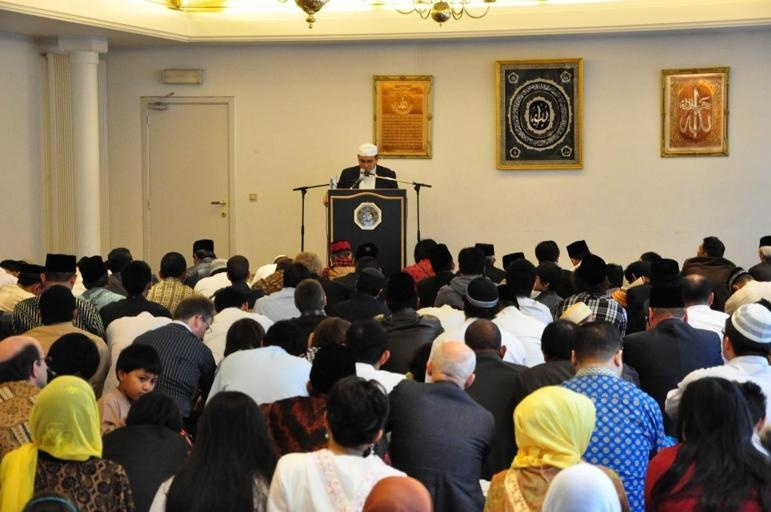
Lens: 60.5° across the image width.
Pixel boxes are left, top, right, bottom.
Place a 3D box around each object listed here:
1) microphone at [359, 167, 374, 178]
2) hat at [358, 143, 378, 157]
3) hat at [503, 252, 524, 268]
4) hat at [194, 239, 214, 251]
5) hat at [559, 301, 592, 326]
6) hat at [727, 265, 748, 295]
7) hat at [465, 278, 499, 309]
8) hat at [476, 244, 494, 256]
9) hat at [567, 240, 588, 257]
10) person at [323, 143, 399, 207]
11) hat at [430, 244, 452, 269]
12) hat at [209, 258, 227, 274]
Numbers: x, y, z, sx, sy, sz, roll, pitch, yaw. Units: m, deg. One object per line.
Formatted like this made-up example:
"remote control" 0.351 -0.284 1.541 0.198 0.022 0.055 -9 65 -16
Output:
"microphone" -0.231 -1.075 8.606 0.190 0.109 0.250 0 5 -3
"hat" -0.231 -1.373 8.636 0.295 0.166 0.411 1 7 2
"hat" 1.258 0.044 6.492 0.172 0.161 0.154 3 -11 0
"hat" -2.218 -0.125 8.016 0.223 0.173 0.227 1 0 -22
"hat" 1.307 0.399 4.455 0.178 0.070 0.195 -27 30 -37
"hat" 3.184 0.229 5.988 0.173 0.162 0.199 -37 1 -16
"hat" 0.661 0.263 4.596 0.159 0.129 0.224 6 20 -9
"hat" 1.147 -0.077 7.529 0.211 0.162 0.215 5 6 43
"hat" 2.166 -0.077 7.450 0.223 0.238 0.236 -2 -14 6
"person" -0.247 -1.165 8.675 0.589 0.569 0.946 -3 6 -28
"hat" 0.570 0.004 6.428 0.210 0.244 0.211 -12 12 -35
"hat" -1.767 0.109 6.931 0.179 0.095 0.244 0 1 -10
